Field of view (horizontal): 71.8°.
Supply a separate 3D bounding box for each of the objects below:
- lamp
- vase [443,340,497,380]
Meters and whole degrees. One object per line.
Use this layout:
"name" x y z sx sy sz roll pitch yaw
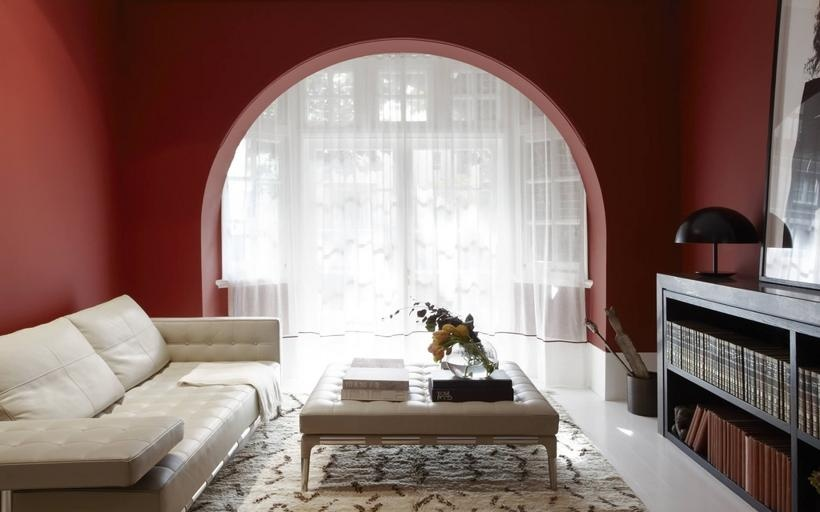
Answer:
"lamp" 2.408 -0.112 4.489 0.611 0.584 0.631 0 -1 16
"vase" 0.460 0.758 4.186 0.297 0.197 0.266 0 -3 -27
